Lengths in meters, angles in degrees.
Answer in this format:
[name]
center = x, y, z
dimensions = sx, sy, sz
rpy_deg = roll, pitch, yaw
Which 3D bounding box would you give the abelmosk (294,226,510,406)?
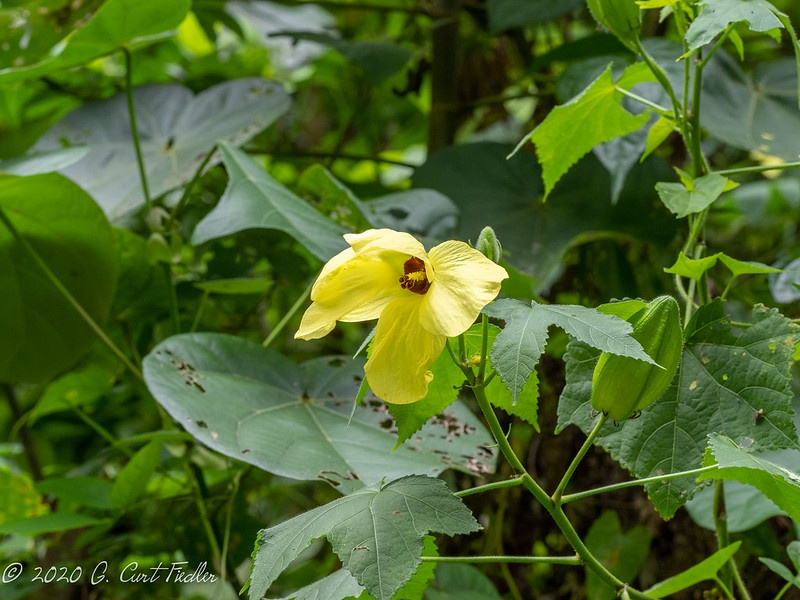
[abelmosk]
center = 0.011, 0.033, 1.171
dimensions = 0.266, 0.254, 0.185
rpy_deg = 6, 41, 30
